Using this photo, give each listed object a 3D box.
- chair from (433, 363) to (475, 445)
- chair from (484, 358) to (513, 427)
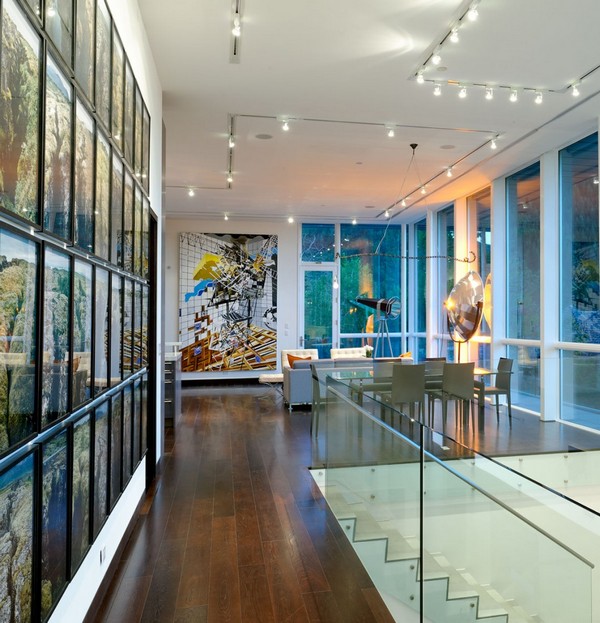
[{"bbox_3d":[1.686,0.974,5.604,0.421,0.776,1.196,-1,0,17],"label":"chair"},{"bbox_3d":[2.245,0.908,5.975,0.426,0.740,0.442,7,-5,-39],"label":"chair"}]
